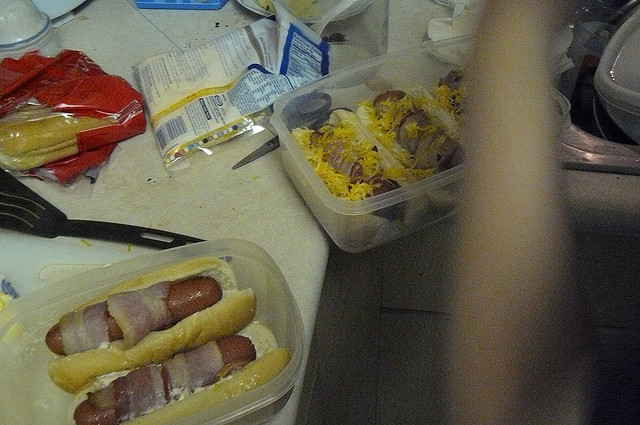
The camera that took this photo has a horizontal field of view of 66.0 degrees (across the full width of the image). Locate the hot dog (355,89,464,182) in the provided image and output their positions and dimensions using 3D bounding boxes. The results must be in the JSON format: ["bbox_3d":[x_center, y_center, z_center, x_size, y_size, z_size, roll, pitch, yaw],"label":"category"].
[{"bbox_3d":[0.139,-0.149,0.798,0.195,0.113,0.047,6,25,25],"label":"hot dog"}]

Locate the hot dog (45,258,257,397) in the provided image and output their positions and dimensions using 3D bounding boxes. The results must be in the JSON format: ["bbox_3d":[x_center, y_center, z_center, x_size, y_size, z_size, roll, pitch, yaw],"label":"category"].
[{"bbox_3d":[-0.195,0.139,0.638,0.266,0.093,0.119,-15,64,-13],"label":"hot dog"}]

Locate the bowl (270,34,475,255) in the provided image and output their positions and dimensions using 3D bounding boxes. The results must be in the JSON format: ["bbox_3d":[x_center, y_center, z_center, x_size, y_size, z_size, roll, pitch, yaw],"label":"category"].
[{"bbox_3d":[0.137,-0.089,0.820,0.371,0.115,0.271,-25,64,-5],"label":"bowl"}]

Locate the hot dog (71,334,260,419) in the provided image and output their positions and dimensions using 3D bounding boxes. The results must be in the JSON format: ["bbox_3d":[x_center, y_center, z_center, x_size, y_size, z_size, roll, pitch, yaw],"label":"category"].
[{"bbox_3d":[-0.177,0.183,0.543,0.181,0.048,0.041,-14,85,-5],"label":"hot dog"}]

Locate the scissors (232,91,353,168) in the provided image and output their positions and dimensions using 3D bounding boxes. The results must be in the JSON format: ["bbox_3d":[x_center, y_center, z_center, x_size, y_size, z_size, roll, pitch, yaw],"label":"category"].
[{"bbox_3d":[-0.045,-0.146,0.834,0.223,0.031,0.089,-35,90,-5],"label":"scissors"}]
